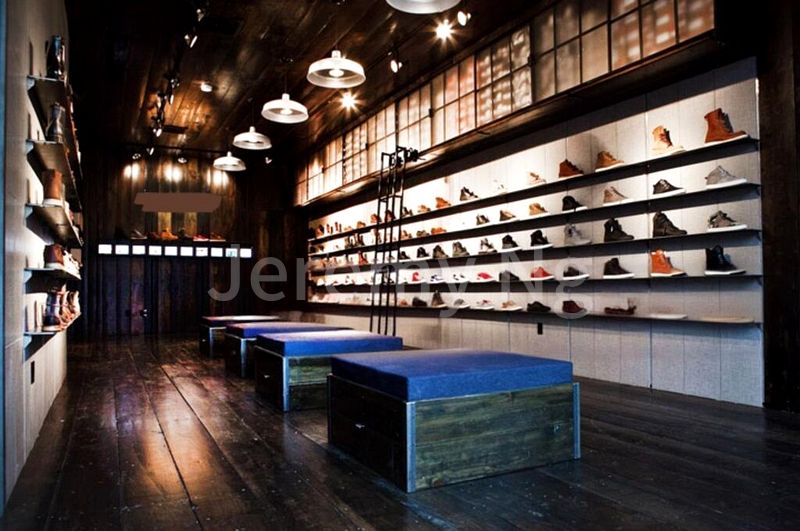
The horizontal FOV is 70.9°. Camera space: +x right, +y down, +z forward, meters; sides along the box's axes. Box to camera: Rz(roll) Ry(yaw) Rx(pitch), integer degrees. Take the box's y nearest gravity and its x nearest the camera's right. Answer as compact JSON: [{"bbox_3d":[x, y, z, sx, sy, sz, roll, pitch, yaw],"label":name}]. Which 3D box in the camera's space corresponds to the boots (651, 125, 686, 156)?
[{"bbox_3d":[2.776,-1.315,5.817,0.346,0.320,0.231,3,7,35],"label":"boots"}]

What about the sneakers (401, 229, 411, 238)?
[{"bbox_3d":[0.106,-0.521,9.250,0.151,0.154,0.065,9,22,38],"label":"sneakers"}]

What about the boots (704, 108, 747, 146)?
[{"bbox_3d":[3.147,-1.364,5.393,0.173,0.331,0.411,-10,9,-27],"label":"boots"}]

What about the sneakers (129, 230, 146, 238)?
[{"bbox_3d":[-5.645,-0.676,12.066,0.348,0.202,0.125,-1,2,-30],"label":"sneakers"}]

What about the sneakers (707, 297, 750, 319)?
[{"bbox_3d":[3.080,0.413,5.327,0.137,0.174,0.412,3,-8,-25],"label":"sneakers"}]

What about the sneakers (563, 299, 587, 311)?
[{"bbox_3d":[2.021,0.472,6.523,0.311,0.141,0.103,-4,-9,26],"label":"sneakers"}]

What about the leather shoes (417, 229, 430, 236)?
[{"bbox_3d":[0.359,-0.526,8.835,0.071,0.081,0.194,1,-8,-17],"label":"leather shoes"}]

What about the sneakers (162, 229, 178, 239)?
[{"bbox_3d":[-5.080,-0.689,12.318,0.417,0.278,0.151,-2,2,-16],"label":"sneakers"}]

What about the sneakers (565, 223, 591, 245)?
[{"bbox_3d":[2.106,-0.370,6.584,0.179,0.239,0.319,-3,6,-26],"label":"sneakers"}]

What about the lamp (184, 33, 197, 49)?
[{"bbox_3d":[-2.626,-2.836,7.017,0.183,0.173,0.233,6,14,-10],"label":"lamp"}]

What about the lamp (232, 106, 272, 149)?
[{"bbox_3d":[-2.475,-2.350,9.374,0.831,0.469,0.834,-1,-11,5],"label":"lamp"}]

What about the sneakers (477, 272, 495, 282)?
[{"bbox_3d":[1.182,0.148,7.723,0.259,0.111,0.094,-5,-10,36],"label":"sneakers"}]

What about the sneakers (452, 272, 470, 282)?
[{"bbox_3d":[0.893,0.168,8.186,0.091,0.109,0.257,4,-7,-34],"label":"sneakers"}]

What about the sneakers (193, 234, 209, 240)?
[{"bbox_3d":[-4.493,-0.668,12.689,0.318,0.161,0.191,-2,6,-19],"label":"sneakers"}]

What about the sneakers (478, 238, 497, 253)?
[{"bbox_3d":[1.192,-0.277,7.693,0.251,0.236,0.134,2,-3,-25],"label":"sneakers"}]

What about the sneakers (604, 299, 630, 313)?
[{"bbox_3d":[2.353,0.450,6.123,0.285,0.131,0.105,-6,-9,40],"label":"sneakers"}]

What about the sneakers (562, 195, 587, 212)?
[{"bbox_3d":[2.064,-0.742,6.607,0.170,0.187,0.336,-4,6,-30],"label":"sneakers"}]

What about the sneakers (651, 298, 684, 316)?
[{"bbox_3d":[2.792,0.431,5.791,0.350,0.200,0.124,-5,-8,42],"label":"sneakers"}]

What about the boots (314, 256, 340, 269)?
[{"bbox_3d":[-1.545,-0.080,12.075,0.288,0.374,0.944,2,-7,-30],"label":"boots"}]

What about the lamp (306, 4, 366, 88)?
[{"bbox_3d":[-0.692,-2.331,6.076,0.601,0.652,0.607,1,-15,-7],"label":"lamp"}]

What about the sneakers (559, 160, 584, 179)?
[{"bbox_3d":[1.994,-1.147,6.607,0.342,0.244,0.127,-1,1,29],"label":"sneakers"}]

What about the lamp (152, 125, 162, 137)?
[{"bbox_3d":[-4.358,-2.434,10.054,0.184,0.054,0.234,3,-43,-9],"label":"lamp"}]

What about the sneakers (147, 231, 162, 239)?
[{"bbox_3d":[-5.374,-0.683,12.290,0.251,0.156,0.084,-3,6,-26],"label":"sneakers"}]

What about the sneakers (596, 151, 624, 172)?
[{"bbox_3d":[2.305,-1.179,6.231,0.125,0.199,0.340,-2,0,-41],"label":"sneakers"}]

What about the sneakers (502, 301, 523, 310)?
[{"bbox_3d":[1.465,0.515,7.309,0.097,0.089,0.224,6,-8,-42],"label":"sneakers"}]

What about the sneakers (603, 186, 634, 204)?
[{"bbox_3d":[2.436,-0.788,6.206,0.309,0.181,0.127,-3,-2,39],"label":"sneakers"}]

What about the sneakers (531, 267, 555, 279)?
[{"bbox_3d":[1.785,0.091,6.922,0.106,0.122,0.288,11,-12,-38],"label":"sneakers"}]

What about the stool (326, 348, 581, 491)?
[{"bbox_3d":[0.410,1.019,3.905,1.062,0.484,1.076,2,-3,-28],"label":"stool"}]

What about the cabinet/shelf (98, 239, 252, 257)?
[{"bbox_3d":[-4.895,-0.376,12.594,2.290,0.301,0.221,-3,7,-23],"label":"cabinet/shelf"}]

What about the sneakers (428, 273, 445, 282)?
[{"bbox_3d":[0.598,0.186,8.594,0.093,0.093,0.217,3,-4,-32],"label":"sneakers"}]

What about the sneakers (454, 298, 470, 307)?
[{"bbox_3d":[0.892,0.541,8.108,0.101,0.090,0.233,5,-11,-30],"label":"sneakers"}]

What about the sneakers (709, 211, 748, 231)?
[{"bbox_3d":[3.098,-0.430,5.375,0.372,0.216,0.127,-1,-3,18],"label":"sneakers"}]

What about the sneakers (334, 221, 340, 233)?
[{"bbox_3d":[-1.300,-0.820,11.774,0.133,0.083,0.228,3,-30,0],"label":"sneakers"}]

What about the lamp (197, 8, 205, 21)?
[{"bbox_3d":[-2.285,-2.895,6.416,0.109,0.100,0.088,-11,20,-25],"label":"lamp"}]

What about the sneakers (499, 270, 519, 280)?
[{"bbox_3d":[1.428,0.128,7.392,0.116,0.094,0.227,4,-9,-28],"label":"sneakers"}]

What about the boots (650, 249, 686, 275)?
[{"bbox_3d":[2.759,-0.037,5.817,0.223,0.271,0.434,-3,6,-22],"label":"boots"}]

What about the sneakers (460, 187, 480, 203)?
[{"bbox_3d":[0.972,-1.025,8.048,0.321,0.220,0.129,-3,-3,29],"label":"sneakers"}]

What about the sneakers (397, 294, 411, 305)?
[{"bbox_3d":[0.079,0.563,9.247,0.094,0.118,0.302,1,-8,-20],"label":"sneakers"}]

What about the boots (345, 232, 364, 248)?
[{"bbox_3d":[-0.831,-0.492,10.749,0.175,0.246,0.541,4,-10,-31],"label":"boots"}]

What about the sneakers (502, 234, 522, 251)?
[{"bbox_3d":[1.435,-0.298,7.342,0.111,0.212,0.298,6,-9,-41],"label":"sneakers"}]

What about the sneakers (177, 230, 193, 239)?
[{"bbox_3d":[-4.806,-0.699,12.558,0.335,0.232,0.195,-3,6,-25],"label":"sneakers"}]

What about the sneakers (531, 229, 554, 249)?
[{"bbox_3d":[1.757,-0.339,6.950,0.245,0.222,0.241,0,5,10],"label":"sneakers"}]

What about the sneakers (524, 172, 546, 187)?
[{"bbox_3d":[1.691,-1.097,7.000,0.108,0.122,0.291,-3,0,-34],"label":"sneakers"}]

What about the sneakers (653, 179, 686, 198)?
[{"bbox_3d":[2.800,-0.806,5.822,0.321,0.190,0.108,-5,-6,33],"label":"sneakers"}]

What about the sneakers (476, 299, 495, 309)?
[{"bbox_3d":[1.186,0.523,7.741,0.098,0.114,0.288,8,-11,-41],"label":"sneakers"}]

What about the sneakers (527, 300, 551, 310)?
[{"bbox_3d":[1.722,0.498,6.942,0.277,0.118,0.102,0,-19,32],"label":"sneakers"}]

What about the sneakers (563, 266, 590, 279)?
[{"bbox_3d":[2.053,0.078,6.522,0.291,0.126,0.108,-6,-12,44],"label":"sneakers"}]

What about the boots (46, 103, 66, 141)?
[{"bbox_3d":[-2.596,-1.075,4.224,0.124,0.309,0.277,-3,6,-27],"label":"boots"}]

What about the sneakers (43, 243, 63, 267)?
[{"bbox_3d":[-2.641,-0.085,4.271,0.124,0.169,0.318,-4,6,-33],"label":"sneakers"}]

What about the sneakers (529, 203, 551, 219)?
[{"bbox_3d":[1.696,-0.706,6.944,0.305,0.188,0.110,-3,3,-11],"label":"sneakers"}]

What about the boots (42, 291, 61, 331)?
[{"bbox_3d":[-2.678,0.340,4.315,0.123,0.281,0.281,-4,6,-32],"label":"boots"}]

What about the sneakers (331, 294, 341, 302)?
[{"bbox_3d":[-1.316,0.680,11.559,0.123,0.201,0.071,-6,-9,30],"label":"sneakers"}]

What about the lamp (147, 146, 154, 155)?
[{"bbox_3d":[-5.217,-2.426,11.708,0.149,0.201,0.061,10,3,9],"label":"lamp"}]

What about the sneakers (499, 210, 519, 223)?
[{"bbox_3d":[1.423,-0.664,7.357,0.198,0.085,0.120,-4,-2,23],"label":"sneakers"}]
